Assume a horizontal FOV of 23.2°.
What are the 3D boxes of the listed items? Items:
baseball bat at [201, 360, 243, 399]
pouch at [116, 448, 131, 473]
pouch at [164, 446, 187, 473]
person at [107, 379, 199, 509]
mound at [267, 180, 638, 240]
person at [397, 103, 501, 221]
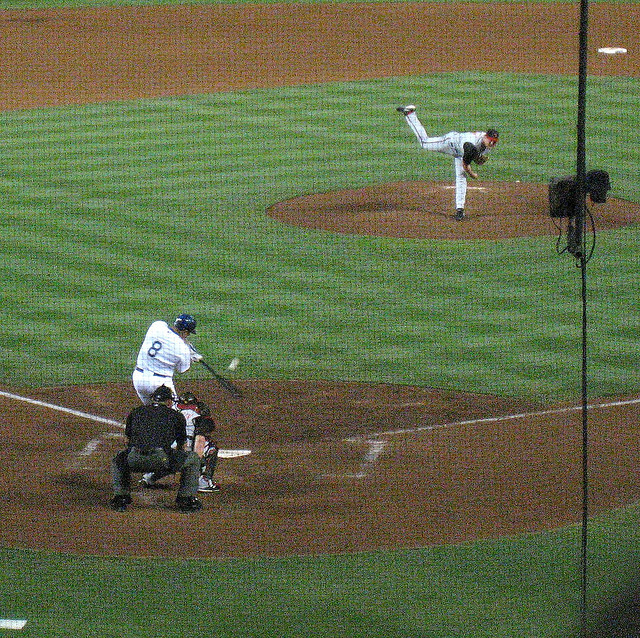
[{"bbox_3d":[-1.142,0.722,18.028,0.185,0.122,0.865,23,0,-41],"label":"baseball bat"},{"bbox_3d":[-1.912,1.363,15.116,0.072,0.177,0.157,28,-16,-22],"label":"pouch"},{"bbox_3d":[-1.409,1.356,15.152,0.244,0.268,0.075,-7,10,-25],"label":"pouch"},{"bbox_3d":[-1.581,1.286,15.428,1.085,1.092,0.938,9,-12,-22],"label":"person"},{"bbox_3d":[1.845,-1.515,22.182,6.332,0.301,1.903,-3,15,-17],"label":"mound"},{"bbox_3d":[1.937,-2.372,23.300,1.051,1.296,2.798,-8,22,-28],"label":"person"}]
